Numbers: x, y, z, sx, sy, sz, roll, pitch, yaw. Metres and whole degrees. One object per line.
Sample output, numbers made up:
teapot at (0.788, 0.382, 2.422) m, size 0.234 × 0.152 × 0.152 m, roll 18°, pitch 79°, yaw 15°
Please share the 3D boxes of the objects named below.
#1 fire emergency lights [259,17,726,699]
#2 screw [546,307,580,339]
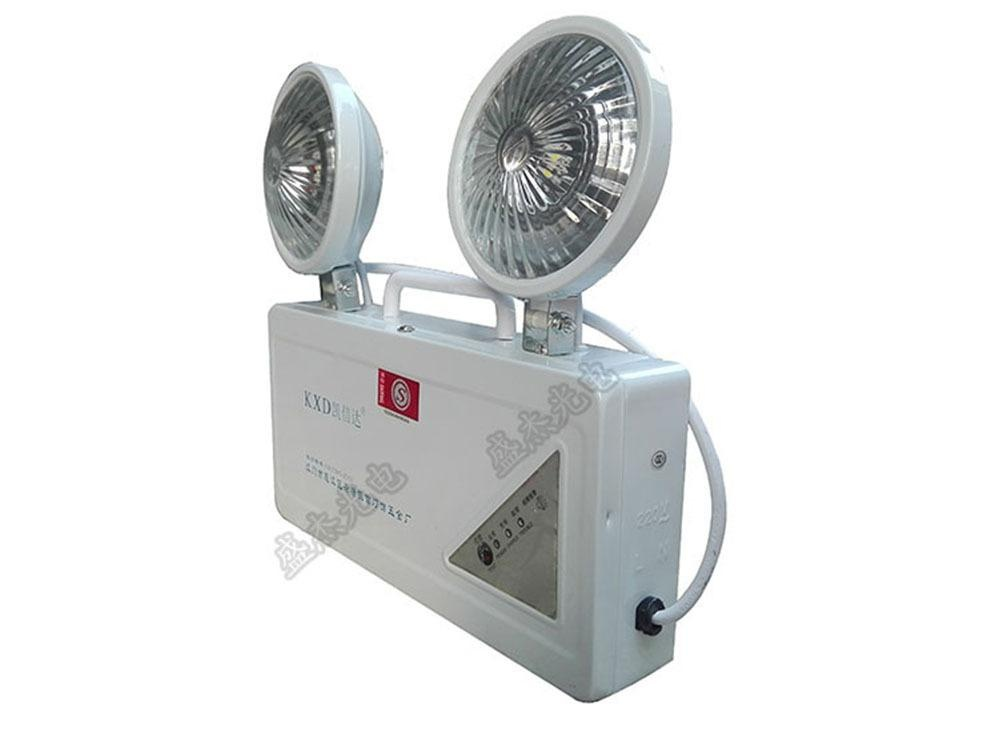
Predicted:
fire emergency lights at (-0.195, -0.109, 2.891) m, size 1.774 × 0.449 × 1.814 m, roll 12°, pitch -77°, yaw 41°
screw at (0.185, -0.148, 2.491) m, size 0.101 × 0.047 × 0.073 m, roll 17°, pitch -69°, yaw -4°
